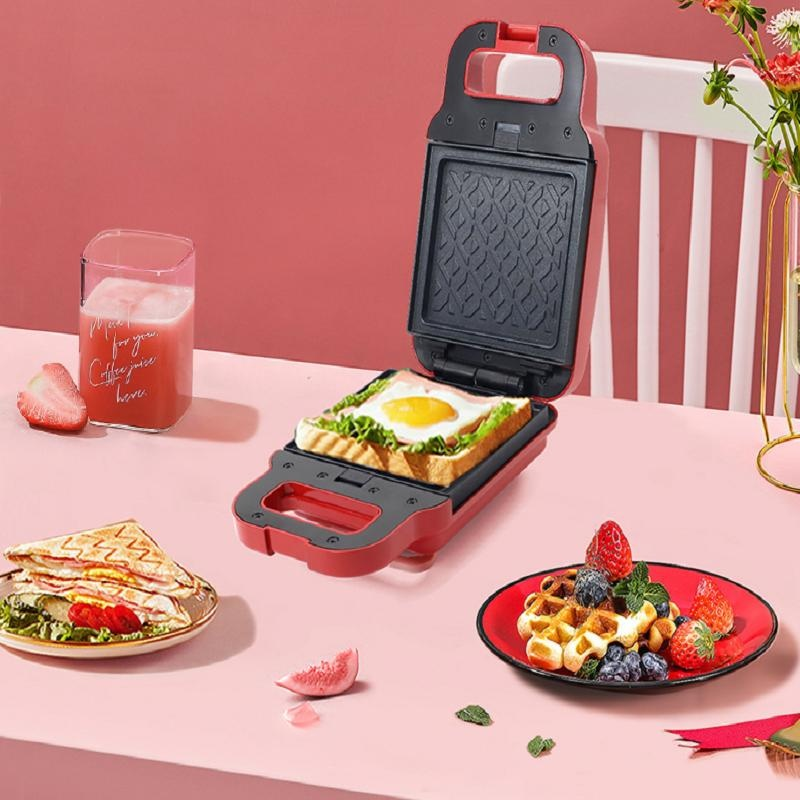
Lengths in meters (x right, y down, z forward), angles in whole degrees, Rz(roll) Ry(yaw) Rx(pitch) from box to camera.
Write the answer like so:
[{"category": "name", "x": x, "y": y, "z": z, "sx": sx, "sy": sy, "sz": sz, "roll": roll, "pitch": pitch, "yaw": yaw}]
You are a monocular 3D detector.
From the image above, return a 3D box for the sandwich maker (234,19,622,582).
[{"category": "sandwich maker", "x": 0.024, "y": -0.108, "z": 0.813, "sx": 0.239, "sy": 0.446, "sz": 0.489, "roll": 17, "pitch": 35, "yaw": 34}]

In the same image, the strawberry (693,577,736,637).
[{"category": "strawberry", "x": 0.229, "y": 0.151, "z": 0.566, "sx": 0.029, "sy": 0.042, "sz": 0.031, "roll": -9, "pitch": 9, "yaw": -30}]

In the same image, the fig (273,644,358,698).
[{"category": "fig", "x": -0.053, "y": 0.191, "z": 0.541, "sx": 0.065, "sy": 0.022, "sz": 0.034, "roll": -13, "pitch": 15, "yaw": -36}]

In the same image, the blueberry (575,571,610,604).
[{"category": "blueberry", "x": 0.140, "y": 0.137, "z": 0.568, "sx": 0.019, "sy": 0.025, "sz": 0.008, "roll": -9, "pitch": -19, "yaw": 17}]

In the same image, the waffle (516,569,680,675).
[{"category": "waffle", "x": 0.140, "y": 0.158, "z": 0.549, "sx": 0.080, "sy": 0.045, "sz": 0.099, "roll": 5, "pitch": 15, "yaw": -7}]

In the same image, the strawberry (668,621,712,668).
[{"category": "strawberry", "x": 0.203, "y": 0.170, "z": 0.532, "sx": 0.032, "sy": 0.035, "sz": 0.020, "roll": 1, "pitch": 10, "yaw": 1}]

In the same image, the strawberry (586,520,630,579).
[{"category": "strawberry", "x": 0.161, "y": 0.113, "z": 0.599, "sx": 0.026, "sy": 0.042, "sz": 0.034, "roll": 3, "pitch": 1, "yaw": -15}]

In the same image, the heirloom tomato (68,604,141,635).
[{"category": "heirloom tomato", "x": -0.208, "y": 0.154, "z": 0.552, "sx": 0.038, "sy": 0.015, "sz": 0.023, "roll": 8, "pitch": 15, "yaw": -25}]
